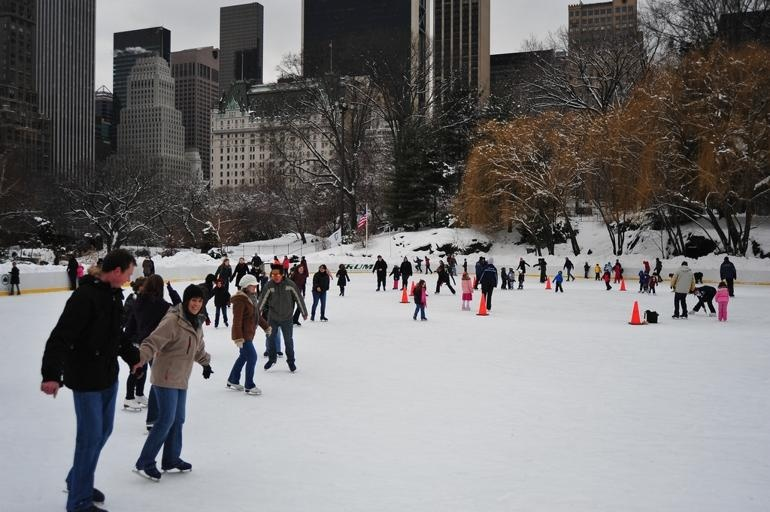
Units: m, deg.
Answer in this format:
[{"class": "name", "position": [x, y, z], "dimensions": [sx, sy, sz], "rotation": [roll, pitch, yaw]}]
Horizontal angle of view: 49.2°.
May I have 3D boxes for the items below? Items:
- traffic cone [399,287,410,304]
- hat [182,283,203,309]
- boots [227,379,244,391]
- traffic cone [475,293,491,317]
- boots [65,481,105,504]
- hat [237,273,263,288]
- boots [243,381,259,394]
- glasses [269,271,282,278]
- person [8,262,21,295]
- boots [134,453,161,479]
[{"class": "traffic cone", "position": [0.754, 1.522, 32.227], "dimensions": [0.435, 0.606, 0.457], "rotation": [-2, 5, -10]}, {"class": "hat", "position": [-3.740, 0.774, 16.308], "dimensions": [0.348, 0.442, 0.443], "rotation": [7, -21, -38]}, {"class": "boots", "position": [-3.426, 2.931, 19.184], "dimensions": [0.400, 0.180, 0.166], "rotation": [7, 3, -3]}, {"class": "traffic cone", "position": [3.264, 1.629, 28.604], "dimensions": [0.610, 0.940, 0.618], "rotation": [-1, 4, 14]}, {"class": "boots", "position": [-5.590, 4.442, 15.758], "dimensions": [0.820, 0.388, 0.311], "rotation": [8, 13, 1]}, {"class": "hat", "position": [-3.030, 0.554, 18.858], "dimensions": [0.363, 0.220, 0.277], "rotation": [-8, 9, -30]}, {"class": "boots", "position": [-2.998, 2.991, 18.988], "dimensions": [0.345, 0.187, 0.165], "rotation": [0, 3, 0]}, {"class": "glasses", "position": [-2.574, 0.440, 20.078], "dimensions": [0.171, 0.199, 0.110], "rotation": [0, 41, 9]}, {"class": "person", "position": [-14.535, 0.879, 33.239], "dimensions": [0.414, 1.277, 0.922], "rotation": [-3, 8, -25]}, {"class": "boots", "position": [-4.476, 4.023, 16.205], "dimensions": [0.537, 0.402, 0.293], "rotation": [18, 11, 7]}]
